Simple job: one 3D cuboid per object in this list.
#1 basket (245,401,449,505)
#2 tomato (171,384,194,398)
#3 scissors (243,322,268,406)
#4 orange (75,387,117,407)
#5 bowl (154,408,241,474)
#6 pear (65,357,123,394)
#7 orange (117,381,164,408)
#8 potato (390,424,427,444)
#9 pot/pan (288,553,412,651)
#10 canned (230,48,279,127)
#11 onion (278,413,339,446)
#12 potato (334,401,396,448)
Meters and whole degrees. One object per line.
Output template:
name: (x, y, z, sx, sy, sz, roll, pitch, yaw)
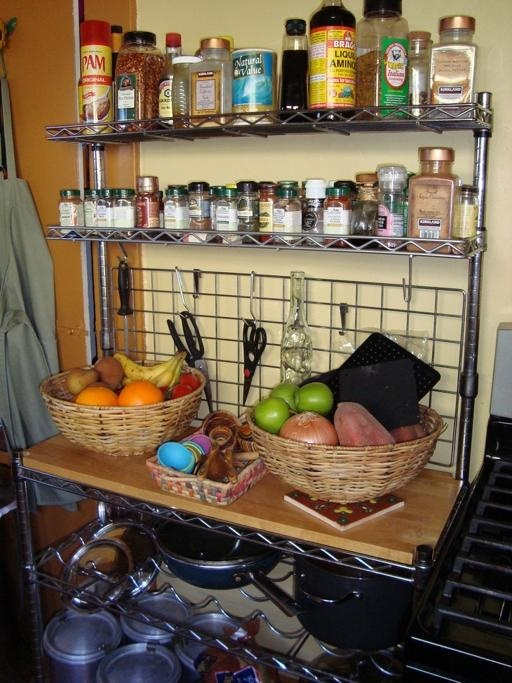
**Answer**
basket: (0.133, 0.161, 0.943, 0.189, 0.071, 0.191, 3, 5, 42)
tomato: (-0.160, 0.107, 1.286, 0.036, 0.031, 0.029, -32, 45, 3)
scissors: (-0.017, 0.052, 1.378, 0.016, 0.174, 0.070, -9, 25, -39)
orange: (-0.318, 0.106, 1.188, 0.053, 0.036, 0.053, 2, -2, -35)
bowl: (-0.092, 0.189, 1.104, 0.086, 0.042, 0.130, 6, 6, 13)
pear: (-0.358, 0.077, 1.315, 0.074, 0.052, 0.118, 23, 23, 15)
orange: (-0.234, 0.109, 1.189, 0.064, 0.057, 0.059, 14, 42, -17)
potato: (0.269, 0.152, 1.000, 0.039, 0.026, 0.036, -3, 6, 6)
pot/pan: (0.166, 0.399, 0.985, 0.190, 0.113, 0.195, -2, -6, 40)
canned: (-0.004, -0.445, 1.004, 0.078, 0.100, 0.062, 0, 16, 1)
onion: (0.086, 0.143, 0.955, 0.066, 0.060, 0.063, 0, 11, -24)
potato: (0.169, 0.129, 0.949, 0.054, 0.032, 0.094, 8, 13, -19)
